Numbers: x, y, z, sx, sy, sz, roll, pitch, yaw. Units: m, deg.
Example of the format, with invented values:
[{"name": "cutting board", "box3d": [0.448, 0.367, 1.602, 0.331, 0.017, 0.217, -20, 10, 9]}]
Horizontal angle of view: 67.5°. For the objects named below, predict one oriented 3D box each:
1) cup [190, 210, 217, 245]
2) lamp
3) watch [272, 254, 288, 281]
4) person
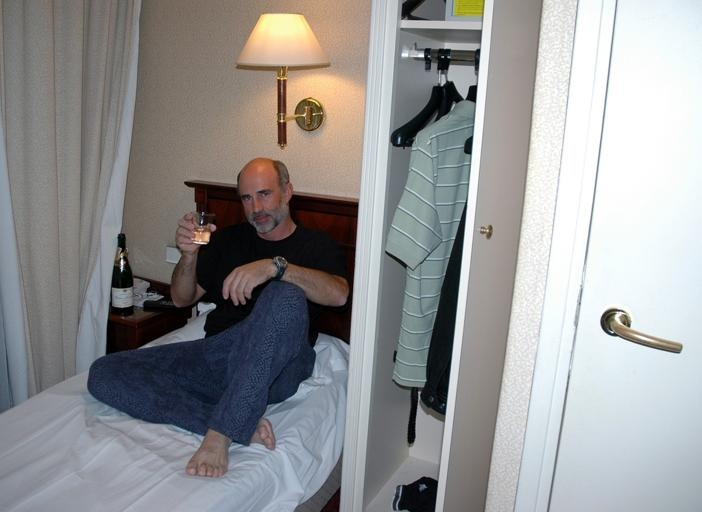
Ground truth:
[{"name": "cup", "box3d": [-0.623, -0.114, 2.181, 0.083, 0.131, 0.085, 3, 0, 0]}, {"name": "lamp", "box3d": [-0.322, -0.876, 2.635, 0.421, 0.683, 0.343, 3, 14, 7]}, {"name": "watch", "box3d": [-0.292, 0.048, 2.205, 0.038, 0.077, 0.081, -14, -17, -13]}, {"name": "person", "box3d": [-0.546, 0.144, 2.256, 1.009, 1.263, 1.128, 5, 1, -10]}]
